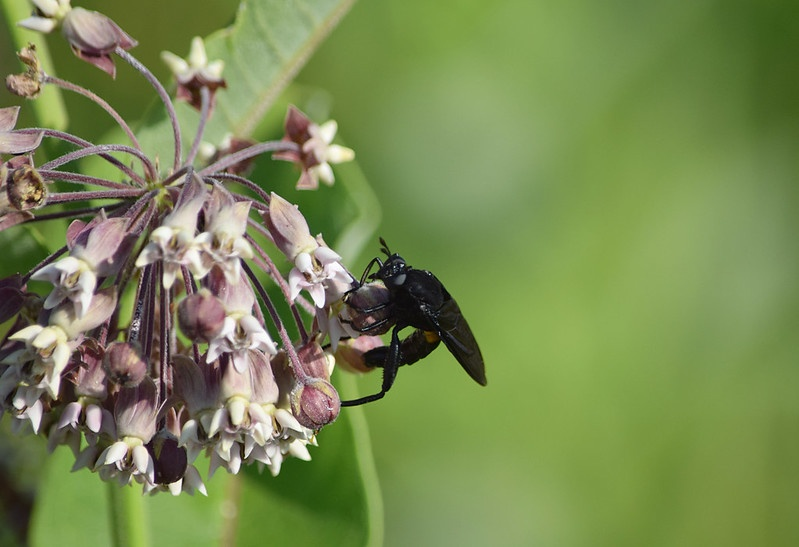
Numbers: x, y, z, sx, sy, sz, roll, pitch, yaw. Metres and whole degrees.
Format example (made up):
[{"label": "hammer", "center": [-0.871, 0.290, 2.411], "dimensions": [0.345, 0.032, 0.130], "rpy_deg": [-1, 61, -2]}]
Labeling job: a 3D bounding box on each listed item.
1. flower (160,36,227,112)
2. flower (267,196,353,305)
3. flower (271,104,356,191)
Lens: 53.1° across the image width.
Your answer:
[{"label": "flower", "center": [-0.701, -0.694, 2.746], "dimensions": [0.170, 0.175, 0.184], "rpy_deg": [-3, -21, 21]}, {"label": "flower", "center": [-0.259, -0.022, 2.372], "dimensions": [0.180, 0.370, 0.124], "rpy_deg": [-25, -5, -5]}, {"label": "flower", "center": [-0.309, -0.435, 2.800], "dimensions": [0.260, 0.241, 0.140], "rpy_deg": [16, -22, -28]}]
